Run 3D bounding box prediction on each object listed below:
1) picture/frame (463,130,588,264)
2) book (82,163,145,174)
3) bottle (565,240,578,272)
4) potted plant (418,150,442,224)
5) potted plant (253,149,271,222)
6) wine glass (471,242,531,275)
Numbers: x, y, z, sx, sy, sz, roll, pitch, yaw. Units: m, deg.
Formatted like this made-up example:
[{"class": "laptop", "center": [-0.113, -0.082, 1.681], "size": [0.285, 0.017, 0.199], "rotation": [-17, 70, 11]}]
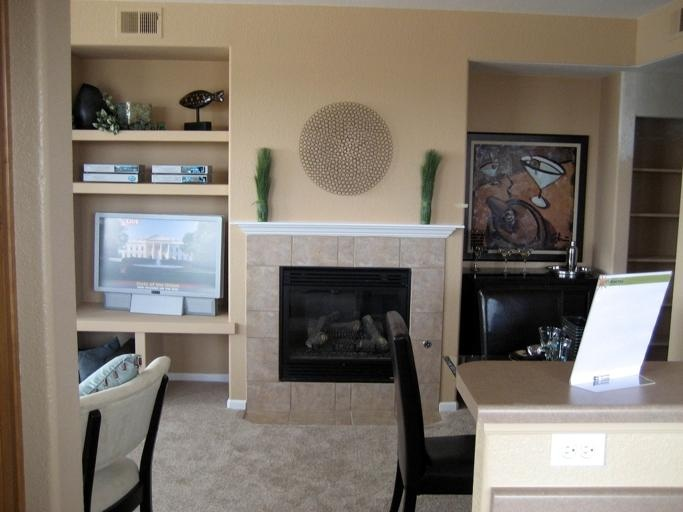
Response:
[{"class": "picture/frame", "center": [1.395, -0.496, 4.567], "size": [0.978, 1.033, 0.064], "rotation": [0, 5, 2]}, {"class": "book", "center": [-1.671, -0.631, 4.311], "size": [0.400, 0.060, 0.112], "rotation": [1, 11, -2]}, {"class": "bottle", "center": [1.755, 0.002, 4.490], "size": [0.083, 0.191, 0.344], "rotation": [5, 11, 21]}, {"class": "potted plant", "center": [0.619, -0.476, 4.113], "size": [0.149, 0.516, 0.117], "rotation": [1, 10, 3]}, {"class": "potted plant", "center": [-0.543, -0.487, 4.078], "size": [0.123, 0.499, 0.108], "rotation": [-1, 10, -10]}, {"class": "wine glass", "center": [1.183, 0.026, 4.532], "size": [0.620, 0.188, 0.221], "rotation": [-6, 13, -32]}]
